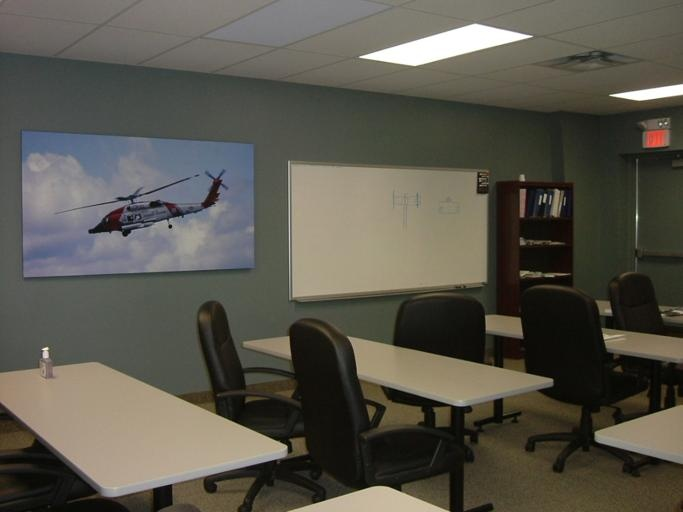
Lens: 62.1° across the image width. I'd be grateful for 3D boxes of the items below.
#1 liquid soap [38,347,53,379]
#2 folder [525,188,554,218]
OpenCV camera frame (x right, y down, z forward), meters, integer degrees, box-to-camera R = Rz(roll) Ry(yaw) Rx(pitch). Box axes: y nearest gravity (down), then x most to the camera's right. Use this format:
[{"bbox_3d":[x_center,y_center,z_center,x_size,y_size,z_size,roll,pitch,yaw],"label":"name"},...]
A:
[{"bbox_3d":[-1.746,0.614,3.344,0.069,0.181,0.170,-4,8,-28],"label":"liquid soap"},{"bbox_3d":[2.339,-0.629,6.757,0.344,0.353,0.182,-1,3,-30],"label":"folder"}]
